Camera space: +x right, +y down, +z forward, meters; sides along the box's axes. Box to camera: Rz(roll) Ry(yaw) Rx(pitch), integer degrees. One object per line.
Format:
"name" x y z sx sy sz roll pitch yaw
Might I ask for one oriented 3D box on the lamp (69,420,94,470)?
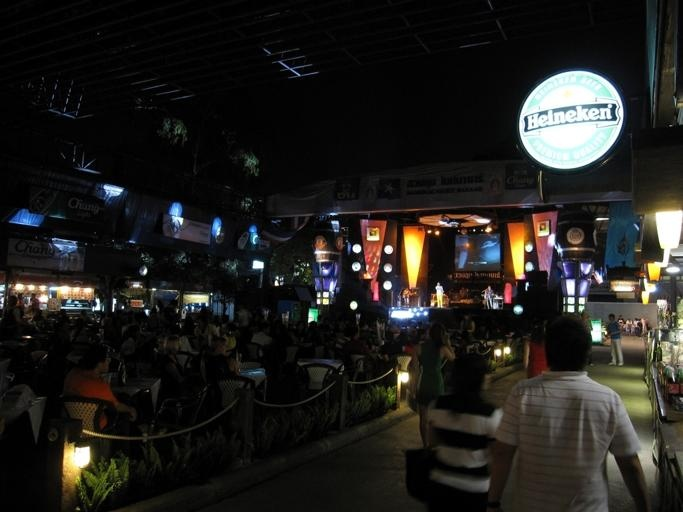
"lamp" -2.992 2.150 6.071 0.152 0.588 0.272 3 -4 -10

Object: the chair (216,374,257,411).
"chair" -1.786 2.319 8.871 0.620 0.550 1.742 3 -3 -10

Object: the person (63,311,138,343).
"person" -7.123 2.094 15.590 0.962 0.496 1.244 3 -1 26

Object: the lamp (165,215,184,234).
"lamp" -6.521 -1.245 20.528 0.440 0.628 0.219 5 4 -45

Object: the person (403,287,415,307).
"person" 5.498 3.121 41.060 1.325 1.301 0.748 4 -4 -21

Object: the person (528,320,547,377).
"person" 3.635 1.804 9.801 0.311 1.157 0.281 -8 14 -30
